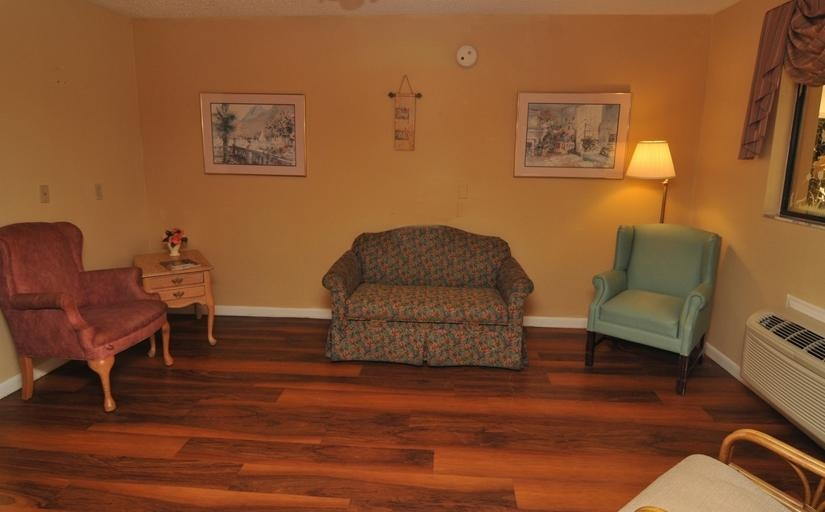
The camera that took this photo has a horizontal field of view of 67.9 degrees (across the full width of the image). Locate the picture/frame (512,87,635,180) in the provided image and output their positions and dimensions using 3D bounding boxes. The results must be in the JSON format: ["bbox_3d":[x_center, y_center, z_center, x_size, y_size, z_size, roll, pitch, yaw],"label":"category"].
[{"bbox_3d":[1.814,-1.412,6.791,1.145,0.769,0.023,1,15,4],"label":"picture/frame"}]

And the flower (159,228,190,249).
[{"bbox_3d":[-2.603,-0.201,6.739,0.301,0.197,0.295,5,-1,14],"label":"flower"}]

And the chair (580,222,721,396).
[{"bbox_3d":[2.510,0.416,6.334,1.120,1.376,1.159,15,24,43],"label":"chair"}]

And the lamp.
[{"bbox_3d":[2.568,-0.797,6.673,0.457,0.920,0.590,5,17,18],"label":"lamp"}]

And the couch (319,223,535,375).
[{"bbox_3d":[0.150,0.373,6.590,2.114,1.149,1.079,1,21,3],"label":"couch"}]

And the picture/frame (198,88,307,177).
[{"bbox_3d":[-1.797,-1.462,6.983,1.080,0.737,0.018,1,13,3],"label":"picture/frame"}]

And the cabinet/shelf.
[{"bbox_3d":[-2.433,0.582,6.816,0.797,0.803,0.992,-6,-6,4],"label":"cabinet/shelf"}]
